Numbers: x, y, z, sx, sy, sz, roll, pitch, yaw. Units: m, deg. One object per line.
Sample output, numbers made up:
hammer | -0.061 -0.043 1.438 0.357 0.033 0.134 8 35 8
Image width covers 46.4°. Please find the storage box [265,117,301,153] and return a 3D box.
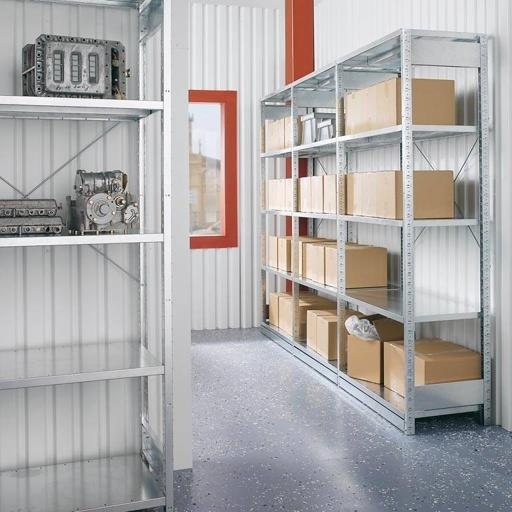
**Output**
storage box | 0.227 -0.985 4.879 0.231 0.394 0.418 0 1 -18

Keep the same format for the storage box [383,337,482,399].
storage box | 0.953 0.585 3.347 0.348 0.207 0.340 -1 -1 -16

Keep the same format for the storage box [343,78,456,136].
storage box | 0.764 -0.861 3.465 0.308 0.260 0.716 -5 7 -34
